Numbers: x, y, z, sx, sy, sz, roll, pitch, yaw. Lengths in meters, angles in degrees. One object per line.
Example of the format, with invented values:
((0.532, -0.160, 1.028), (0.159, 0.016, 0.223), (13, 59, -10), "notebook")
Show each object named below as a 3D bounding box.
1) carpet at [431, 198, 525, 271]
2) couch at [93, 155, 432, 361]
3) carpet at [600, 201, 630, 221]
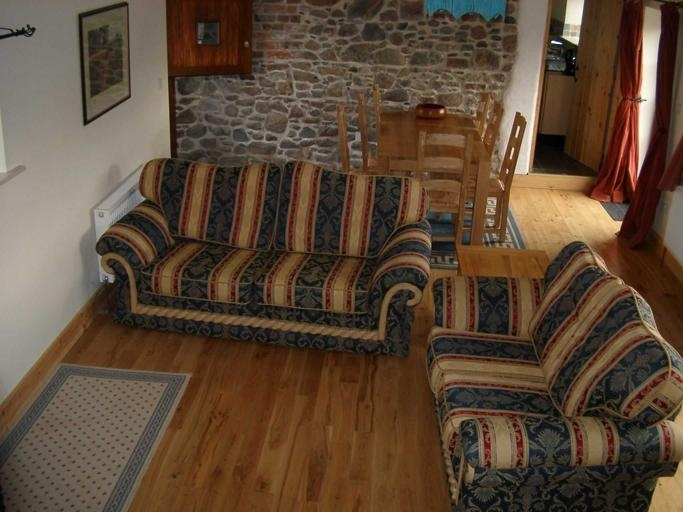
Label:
((1.245, -0.127, 5.246), (0.557, 0.221, 0.881), (-1, 30, 0), "carpet")
((-0.527, -0.032, 3.982), (2.262, 1.101, 1.003), (5, 21, 7), "couch")
((2.999, -0.484, 5.962), (0.258, 0.235, 0.495), (1, 2, 26), "carpet")
